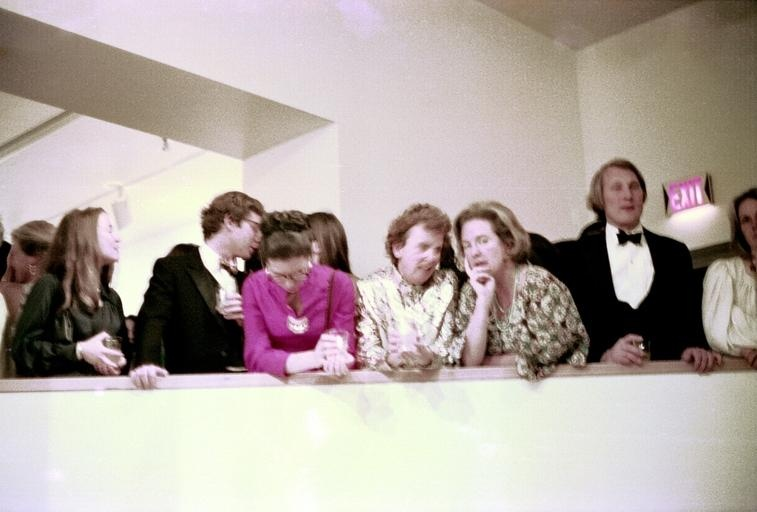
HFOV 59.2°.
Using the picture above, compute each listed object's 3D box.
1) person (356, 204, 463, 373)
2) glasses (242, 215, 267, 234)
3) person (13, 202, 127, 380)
[{"bbox_3d":[0.178,0.206,3.543,0.581,0.923,0.654,8,10,40],"label":"person"},{"bbox_3d":[-0.638,-0.169,3.405,0.096,0.031,0.097,7,-25,-38],"label":"glasses"},{"bbox_3d":[-1.565,0.349,3.468,0.603,1.136,0.508,3,-5,-32],"label":"person"}]
